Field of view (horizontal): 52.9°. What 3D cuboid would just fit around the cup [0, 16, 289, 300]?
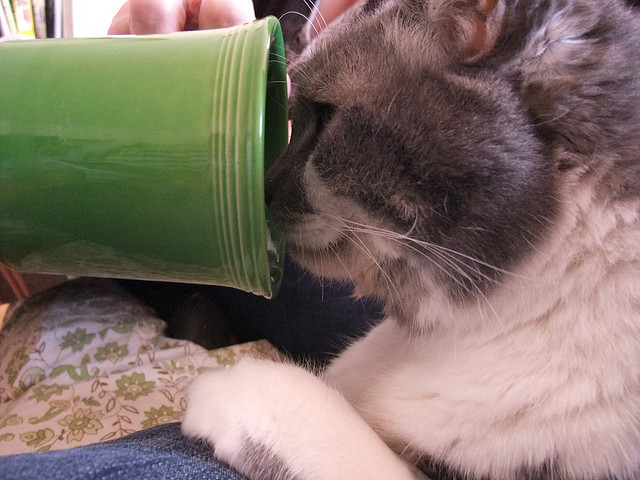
[{"bbox_3d":[-0.258,-0.153,1.148,0.397,0.443,0.405,-1,69,2],"label":"cup"}]
